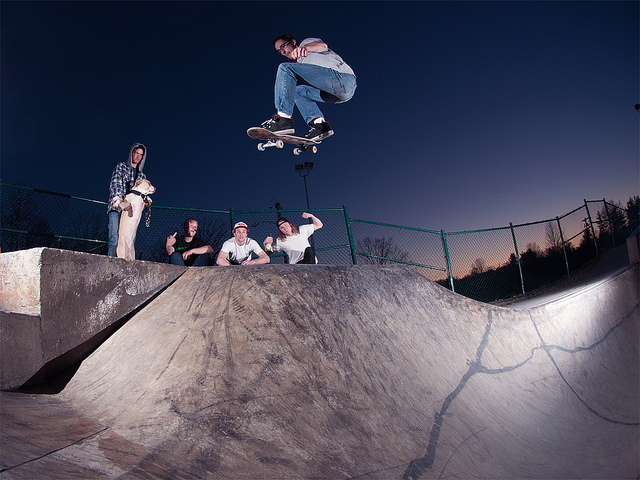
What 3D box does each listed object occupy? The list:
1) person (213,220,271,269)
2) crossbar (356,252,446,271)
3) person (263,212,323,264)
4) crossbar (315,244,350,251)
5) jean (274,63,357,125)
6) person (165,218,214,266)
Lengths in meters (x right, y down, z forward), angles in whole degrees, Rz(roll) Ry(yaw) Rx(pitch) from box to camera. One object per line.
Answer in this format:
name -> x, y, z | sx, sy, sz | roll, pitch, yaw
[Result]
person -> -1.224, 0.029, 7.794 | 0.680, 0.803, 0.867 | -2, -7, 12
crossbar -> 1.907, 0.504, 11.465 | 1.529, 0.393, 0.678 | 1, 9, -1
person -> -0.506, -0.046, 8.391 | 0.865, 0.996, 0.946 | 0, -7, 2
crossbar -> 0.230, 0.168, 10.649 | 0.600, 0.052, 0.067 | -7, -49, -27
jean -> -0.083, -2.152, 7.002 | 1.147, 0.632, 0.745 | 1, -7, -7
person -> -2.165, 0.032, 7.965 | 0.717, 0.863, 0.955 | 1, -7, -10
